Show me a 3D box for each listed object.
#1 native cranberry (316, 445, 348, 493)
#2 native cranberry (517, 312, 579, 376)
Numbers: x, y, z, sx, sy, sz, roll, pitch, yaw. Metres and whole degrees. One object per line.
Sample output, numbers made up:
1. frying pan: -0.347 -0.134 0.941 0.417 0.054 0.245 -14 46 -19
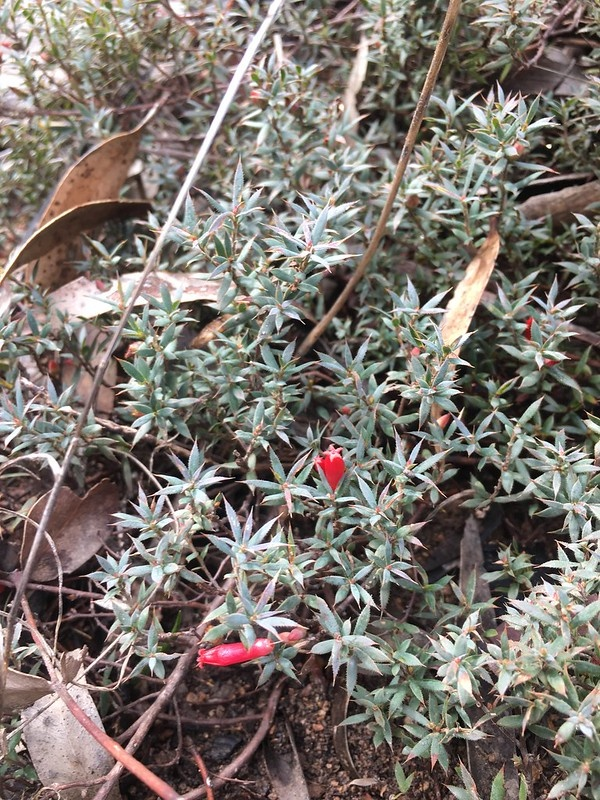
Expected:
1. native cranberry: 0.063 0.141 1.489 0.051 0.086 0.063 -24 53 -9
2. native cranberry: 0.550 -0.131 1.714 0.038 0.094 0.108 30 42 -29
